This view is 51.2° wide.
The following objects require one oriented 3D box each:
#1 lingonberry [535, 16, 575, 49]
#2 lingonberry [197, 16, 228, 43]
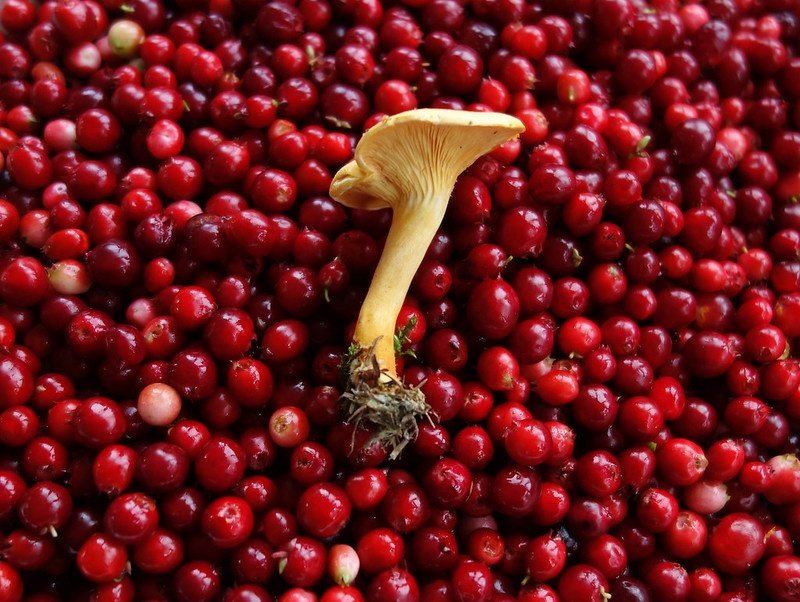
[{"bbox_3d":[0.495,-0.839,2.620,0.101,0.127,0.100,-10,16,-27],"label":"lingonberry"},{"bbox_3d":[-0.605,-0.882,2.734,0.101,0.074,0.077,17,52,-7],"label":"lingonberry"}]
